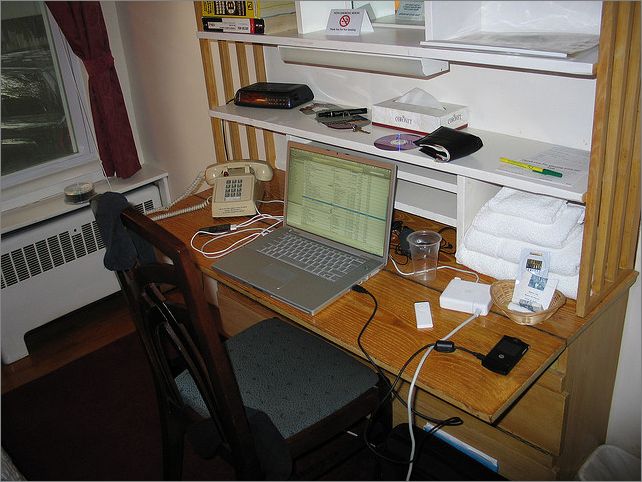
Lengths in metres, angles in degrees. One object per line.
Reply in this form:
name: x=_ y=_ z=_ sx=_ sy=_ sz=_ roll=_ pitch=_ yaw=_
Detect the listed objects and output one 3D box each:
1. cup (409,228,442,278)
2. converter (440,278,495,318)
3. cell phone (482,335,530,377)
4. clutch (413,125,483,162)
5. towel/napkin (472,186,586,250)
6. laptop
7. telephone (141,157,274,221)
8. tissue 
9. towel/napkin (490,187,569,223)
cup: x=0.329 y=0.044 z=1.473 sx=0.090 sy=0.157 sz=0.099 roll=-14 pitch=34 yaw=-27
converter: x=0.435 y=0.162 z=1.337 sx=0.137 sy=0.063 sz=0.124 roll=15 pitch=31 yaw=27
cell phone: x=0.461 y=0.285 z=1.138 sx=0.127 sy=0.022 sz=0.063 roll=-30 pitch=31 yaw=-34
clutch: x=0.411 y=-0.311 z=1.411 sx=0.162 sy=0.057 sz=0.162 roll=-23 pitch=31 yaw=-20
towel/napkin: x=0.599 y=-0.068 z=1.321 sx=0.277 sy=0.126 sz=0.135 roll=23 pitch=36 yaw=37
laptop: x=-0.074 y=-0.076 z=1.502 sx=0.528 sy=0.350 sz=0.479 roll=15 pitch=32 yaw=32
telephone: x=-0.475 y=-0.221 z=1.918 sx=0.585 sy=0.184 sz=0.336 roll=-15 pitch=29 yaw=-19
tissue : x=0.342 y=-0.476 z=1.593 sx=0.182 sy=0.132 sz=0.315 roll=-22 pitch=32 yaw=-26
towel/napkin: x=0.591 y=-0.099 z=1.276 sx=0.167 sy=0.040 sz=0.212 roll=-1 pitch=27 yaw=-4
